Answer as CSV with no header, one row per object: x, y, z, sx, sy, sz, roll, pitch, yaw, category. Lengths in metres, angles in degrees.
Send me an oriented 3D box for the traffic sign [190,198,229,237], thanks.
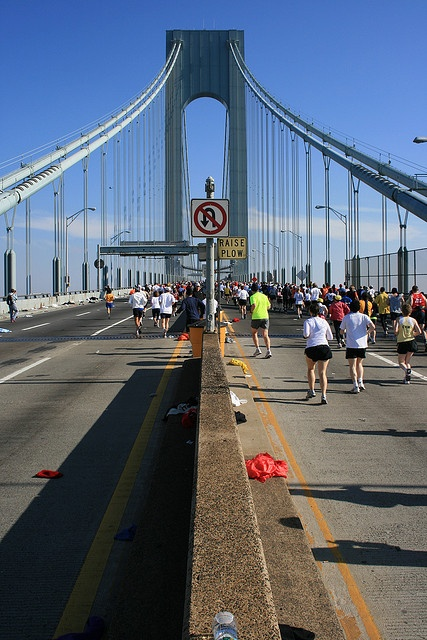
-0.055,-1.583,9.409,0.575,0.607,0.382,0,2,-4,traffic sign

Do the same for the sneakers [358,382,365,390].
2.621,1.179,10.632,0.058,0.096,0.194,-9,-21,7,sneakers

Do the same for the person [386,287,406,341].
6.477,-0.413,21.559,0.505,1.602,0.498,-6,28,3,person

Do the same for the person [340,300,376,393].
2.511,0.457,10.594,0.544,1.554,0.764,0,2,15,person

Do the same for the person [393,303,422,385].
3.771,0.431,11.739,0.464,1.512,1.232,0,2,17,person

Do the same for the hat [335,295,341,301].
3.522,-0.617,17.129,0.202,0.107,0.303,0,3,1,hat

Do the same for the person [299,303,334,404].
1.701,0.494,9.840,0.430,1.537,1.456,0,2,10,person

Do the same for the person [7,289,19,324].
-9.874,-0.690,29.603,0.410,1.598,3.583,-1,2,-19,person

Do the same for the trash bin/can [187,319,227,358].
-0.127,0.346,11.929,0.673,0.871,0.661,0,-3,-1,trash bin/can

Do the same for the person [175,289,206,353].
-0.574,0.059,17.178,0.769,1.973,0.582,-1,-23,-6,person

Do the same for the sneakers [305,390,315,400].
1.553,1.190,9.657,0.077,0.116,0.231,0,-2,-1,sneakers

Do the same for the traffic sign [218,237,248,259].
0.326,-1.293,10.883,0.368,0.307,0.057,-1,-1,-9,traffic sign
